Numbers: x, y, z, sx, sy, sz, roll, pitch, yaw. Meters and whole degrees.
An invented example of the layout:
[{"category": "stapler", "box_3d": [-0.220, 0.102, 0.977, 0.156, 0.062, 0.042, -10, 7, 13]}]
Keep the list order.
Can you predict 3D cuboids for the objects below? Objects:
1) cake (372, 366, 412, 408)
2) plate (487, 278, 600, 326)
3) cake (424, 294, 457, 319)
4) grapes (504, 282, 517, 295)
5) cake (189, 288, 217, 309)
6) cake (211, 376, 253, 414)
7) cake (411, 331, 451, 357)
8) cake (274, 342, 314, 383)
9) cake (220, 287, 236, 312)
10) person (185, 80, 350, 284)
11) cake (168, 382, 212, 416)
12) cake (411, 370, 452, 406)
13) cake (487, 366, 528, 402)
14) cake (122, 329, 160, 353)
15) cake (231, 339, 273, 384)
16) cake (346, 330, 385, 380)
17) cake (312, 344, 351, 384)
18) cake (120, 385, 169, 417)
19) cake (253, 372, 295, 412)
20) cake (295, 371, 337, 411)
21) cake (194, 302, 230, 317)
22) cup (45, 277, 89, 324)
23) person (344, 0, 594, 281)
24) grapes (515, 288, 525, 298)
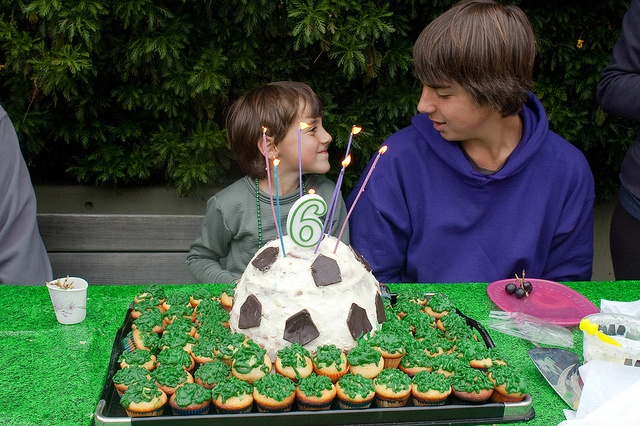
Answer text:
[{"category": "cake", "box_3d": [0.285, 0.687, 1.957, 0.123, 0.118, 0.132, 1, 5, 6]}, {"category": "plate", "box_3d": [1.134, 0.444, 2.600, 0.494, 0.085, 0.372, -2, 18, -9]}, {"category": "cake", "box_3d": [0.556, 0.441, 2.344, 0.094, 0.051, 0.116, 4, 25, 6]}, {"category": "grapes", "box_3d": [1.001, 0.401, 2.625, 0.049, 0.065, 0.050, 1, -1, -23]}, {"category": "cake", "box_3d": [-0.574, 0.404, 2.378, 0.083, 0.092, 0.088, 3, 18, -2]}, {"category": "cake", "box_3d": [-0.339, 0.712, 1.971, 0.120, 0.116, 0.128, 1, 6, 6]}, {"category": "cake", "box_3d": [0.478, 0.571, 2.144, 0.096, 0.040, 0.115, 9, 17, 21]}, {"category": "cake", "box_3d": [-0.110, 0.610, 2.003, 0.116, 0.049, 0.137, 4, 46, -4]}, {"category": "cake", "box_3d": [-0.442, 0.415, 2.366, 0.040, 0.097, 0.075, 16, -17, -12]}, {"category": "person", "box_3d": [-0.338, -0.230, 3.083, 0.934, 1.215, 0.723, -22, 29, -33]}, {"category": "cake", "box_3d": [-0.490, 0.716, 1.905, 0.116, 0.108, 0.120, 0, 3, -20]}, {"category": "cake", "box_3d": [0.432, 0.695, 1.959, 0.114, 0.092, 0.128, 0, 11, 2]}, {"category": "cake", "box_3d": [0.737, 0.679, 1.969, 0.120, 0.093, 0.129, -3, 14, -16]}, {"category": "cake", "box_3d": [-0.764, 0.549, 2.124, 0.105, 0.102, 0.093, 29, 15, -33]}, {"category": "cake", "box_3d": [-0.277, 0.604, 2.004, 0.132, 0.095, 0.142, 10, 34, 11]}, {"category": "cake", "box_3d": [0.180, 0.577, 2.038, 0.117, 0.123, 0.117, -16, 29, -37]}, {"category": "cake", "box_3d": [0.039, 0.605, 2.013, 0.124, 0.125, 0.132, 1, 23, -3]}, {"category": "cake", "box_3d": [-0.670, 0.712, 1.888, 0.128, 0.089, 0.116, 2, 15, -3]}, {"category": "cake", "box_3d": [-0.179, 0.699, 1.924, 0.125, 0.104, 0.139, 1, 6, 2]}, {"category": "cake", "box_3d": [-0.020, 0.699, 1.982, 0.125, 0.103, 0.132, 0, 28, 2]}, {"category": "cake", "box_3d": [-0.504, 0.449, 2.290, 0.146, 0.044, 0.098, -4, 19, -14]}, {"category": "cup", "box_3d": [-1.208, 0.411, 2.391, 0.160, 0.208, 0.188, -10, 20, -29]}, {"category": "person", "box_3d": [0.922, -0.448, 3.173, 1.260, 1.750, 1.057, 13, 29, 22]}, {"category": "grapes", "box_3d": [1.043, 0.425, 2.604, 0.043, 0.055, 0.046, -17, 53, -2]}]
